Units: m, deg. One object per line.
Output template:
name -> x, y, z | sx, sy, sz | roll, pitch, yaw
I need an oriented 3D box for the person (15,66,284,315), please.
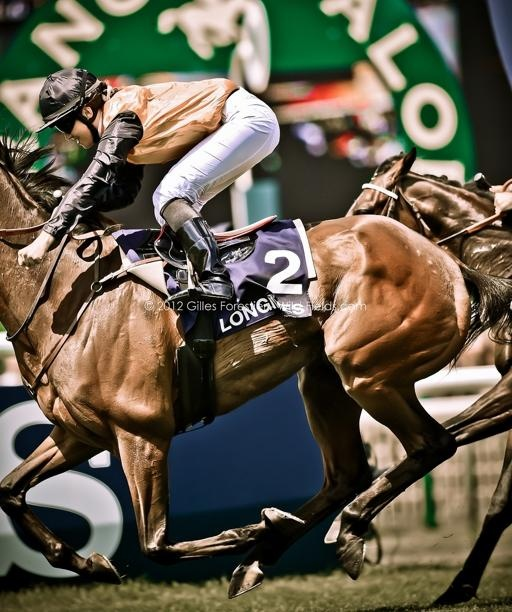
person -> -0.263, -0.488, 3.612 | 1.259, 0.847, 0.524 | 3, 18, 29

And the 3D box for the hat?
hat -> -0.689, -0.744, 3.442 | 0.280, 0.134, 0.213 | -34, 21, -11

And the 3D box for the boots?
boots -> -0.204, -0.162, 3.298 | 0.222, 0.293, 0.151 | -3, 14, 2
